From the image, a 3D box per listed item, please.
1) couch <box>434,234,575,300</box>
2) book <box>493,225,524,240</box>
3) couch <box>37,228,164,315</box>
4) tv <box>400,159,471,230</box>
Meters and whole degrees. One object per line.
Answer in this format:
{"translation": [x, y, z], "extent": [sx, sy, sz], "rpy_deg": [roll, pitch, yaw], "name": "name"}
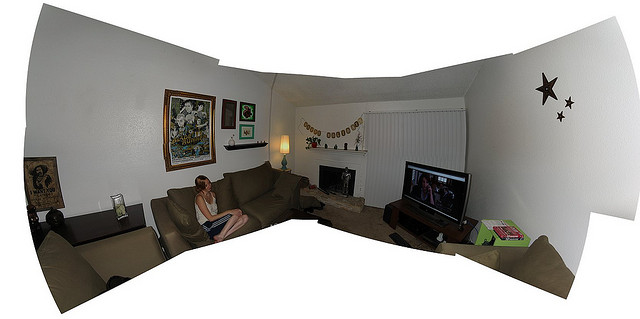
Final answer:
{"translation": [0.826, 0.424, 1.425], "extent": [0.499, 0.205, 0.282], "rpy_deg": [7, 13, 34], "name": "couch"}
{"translation": [0.880, 0.337, 1.485], "extent": [0.083, 0.019, 0.073], "rpy_deg": [-7, 27, 10], "name": "book"}
{"translation": [-0.947, 0.440, 1.388], "extent": [0.407, 0.303, 0.229], "rpy_deg": [-9, 14, -39], "name": "couch"}
{"translation": [0.827, 0.247, 2.249], "extent": [0.172, 0.366, 0.565], "rpy_deg": [-11, 18, -35], "name": "tv"}
